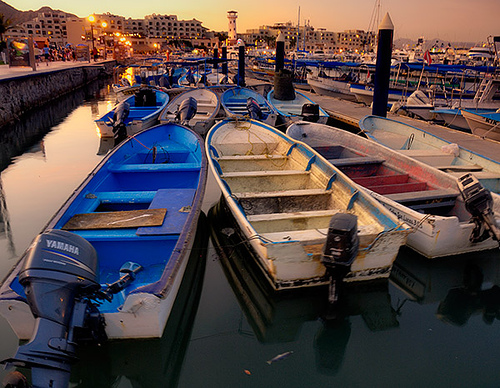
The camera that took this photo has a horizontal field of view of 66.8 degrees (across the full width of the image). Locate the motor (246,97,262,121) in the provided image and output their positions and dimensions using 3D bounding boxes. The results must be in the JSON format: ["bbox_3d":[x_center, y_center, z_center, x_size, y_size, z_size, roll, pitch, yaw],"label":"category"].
[{"bbox_3d":[0.086,-2.352,10.301,0.283,0.266,0.873,-29,37,17],"label":"motor"}]

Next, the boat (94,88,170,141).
[{"bbox_3d":[-3.344,-2.106,11.129,1.390,0.819,3.916,6,26,-3],"label":"boat"}]

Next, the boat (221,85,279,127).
[{"bbox_3d":[-0.055,-2.758,11.738,0.984,0.505,2.515,1,31,-9],"label":"boat"}]

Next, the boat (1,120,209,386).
[{"bbox_3d":[-1.530,0.534,4.930,1.343,0.953,4.022,10,29,-7],"label":"boat"}]

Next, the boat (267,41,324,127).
[{"bbox_3d":[1.203,-3.393,12.479,1.294,1.805,4.933,-6,41,-5],"label":"boat"}]

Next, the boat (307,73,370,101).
[{"bbox_3d":[4.112,-5.187,18.449,3.299,0.978,1.136,21,23,37],"label":"boat"}]

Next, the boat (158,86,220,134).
[{"bbox_3d":[-1.513,-2.551,11.135,1.004,0.438,2.521,4,31,0],"label":"boat"}]

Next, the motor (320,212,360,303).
[{"bbox_3d":[0.976,0.881,4.238,0.320,1.280,0.476,10,9,24],"label":"motor"}]

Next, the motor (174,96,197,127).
[{"bbox_3d":[-1.562,-2.061,9.403,0.374,0.383,1.129,11,26,-11],"label":"motor"}]

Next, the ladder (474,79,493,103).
[{"bbox_3d":[8.424,-3.820,13.828,0.419,0.831,1.573,14,30,27],"label":"ladder"}]

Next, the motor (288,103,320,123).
[{"bbox_3d":[1.619,-2.256,10.413,0.375,0.331,0.650,-5,21,-9],"label":"motor"}]

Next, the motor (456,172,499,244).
[{"bbox_3d":[3.045,0.201,5.084,0.460,0.721,0.669,6,27,13],"label":"motor"}]

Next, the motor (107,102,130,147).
[{"bbox_3d":[-3.496,-1.760,9.599,0.542,0.754,1.800,-2,34,-11],"label":"motor"}]
